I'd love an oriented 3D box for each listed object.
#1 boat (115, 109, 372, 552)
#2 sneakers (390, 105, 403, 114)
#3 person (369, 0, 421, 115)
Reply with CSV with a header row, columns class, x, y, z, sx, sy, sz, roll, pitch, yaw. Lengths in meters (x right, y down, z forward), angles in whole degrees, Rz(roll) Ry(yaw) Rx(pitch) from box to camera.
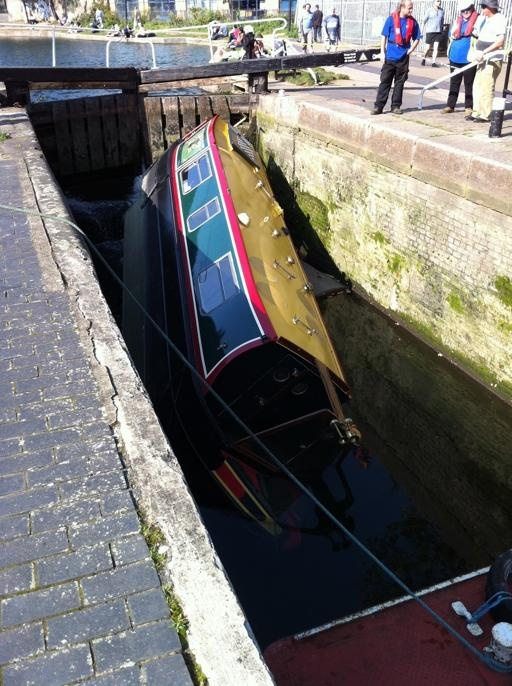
class,x,y,z,sx,sy,sz,roll,pitch,yaw
boat,-0.288,-0.958,7.007,2.610,2.255,6.778,4,45,-20
sneakers,2.446,-4.066,9.167,0.107,0.082,0.195,-12,52,0
person,2.282,-4.596,8.575,0.619,1.686,1.084,8,30,12
